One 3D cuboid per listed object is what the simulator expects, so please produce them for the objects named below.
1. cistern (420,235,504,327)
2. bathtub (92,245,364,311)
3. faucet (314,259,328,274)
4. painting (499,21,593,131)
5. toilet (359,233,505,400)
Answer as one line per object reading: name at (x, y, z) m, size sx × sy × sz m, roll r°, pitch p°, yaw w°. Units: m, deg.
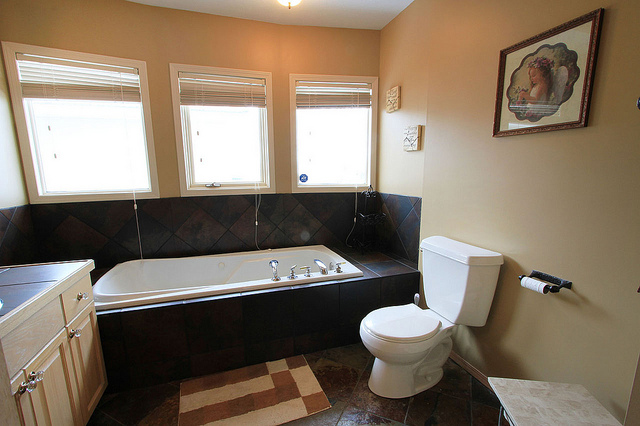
cistern at (1.187, 0.585, 3.522) m, size 0.400 × 0.652 × 0.646 m, roll -4°, pitch 12°, yaw -28°
bathtub at (-0.909, 0.619, 3.949) m, size 2.224 × 0.346 × 0.907 m, roll -6°, pitch 14°, yaw -14°
faucet at (0.012, 0.503, 3.924) m, size 0.102 × 0.131 × 0.276 m, roll -4°, pitch 14°, yaw -4°
painting at (1.680, -1.009, 3.015) m, size 0.063 × 0.913 × 0.761 m, roll -11°, pitch 18°, yaw -39°
toilet at (0.847, 0.898, 3.490) m, size 1.021 × 1.218 × 0.685 m, roll -7°, pitch 18°, yaw -27°
